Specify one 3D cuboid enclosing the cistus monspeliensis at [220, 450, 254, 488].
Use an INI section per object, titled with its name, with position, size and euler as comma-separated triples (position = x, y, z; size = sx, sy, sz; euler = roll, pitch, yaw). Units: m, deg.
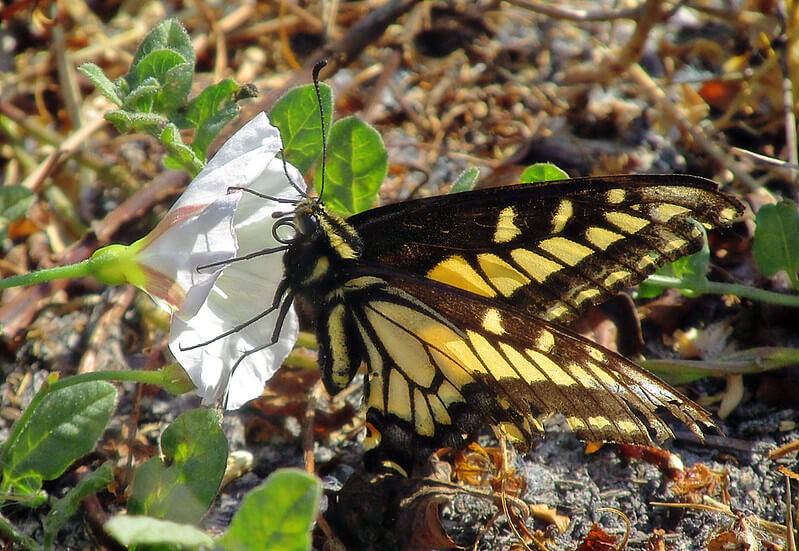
[cistus monspeliensis]
position = -0.536, 0.636, 3.013
size = 0.129, 0.070, 0.046
euler = -40, 123, -29
